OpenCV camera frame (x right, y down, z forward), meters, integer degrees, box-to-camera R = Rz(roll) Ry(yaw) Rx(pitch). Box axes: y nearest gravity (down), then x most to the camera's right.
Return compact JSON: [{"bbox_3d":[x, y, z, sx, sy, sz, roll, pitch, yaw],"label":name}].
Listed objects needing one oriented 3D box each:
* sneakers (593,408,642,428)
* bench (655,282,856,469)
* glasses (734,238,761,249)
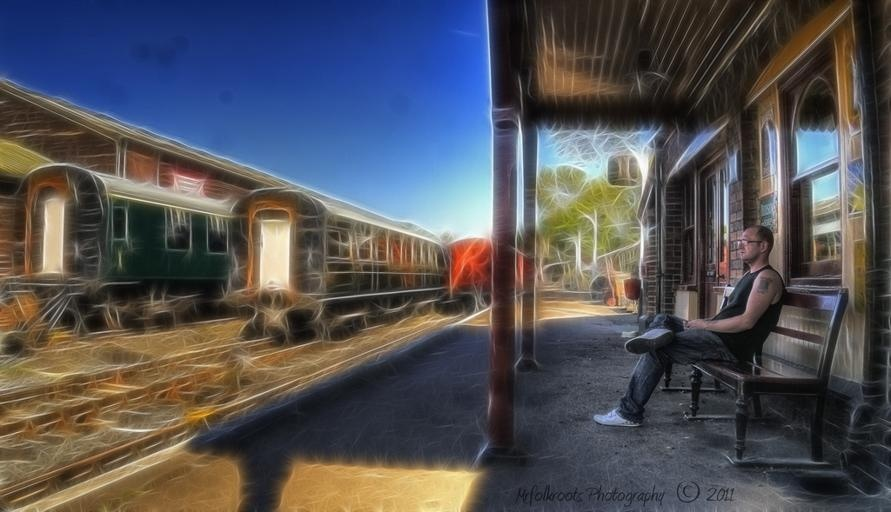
[{"bbox_3d":[2.063,2.001,6.250,0.575,0.232,0.208,6,-16,4],"label":"sneakers"},{"bbox_3d":[3.879,1.466,6.567,1.036,1.765,2.766,2,-5,16],"label":"bench"},{"bbox_3d":[3.679,-0.148,6.242,0.189,0.055,0.184,5,-3,2],"label":"glasses"}]
